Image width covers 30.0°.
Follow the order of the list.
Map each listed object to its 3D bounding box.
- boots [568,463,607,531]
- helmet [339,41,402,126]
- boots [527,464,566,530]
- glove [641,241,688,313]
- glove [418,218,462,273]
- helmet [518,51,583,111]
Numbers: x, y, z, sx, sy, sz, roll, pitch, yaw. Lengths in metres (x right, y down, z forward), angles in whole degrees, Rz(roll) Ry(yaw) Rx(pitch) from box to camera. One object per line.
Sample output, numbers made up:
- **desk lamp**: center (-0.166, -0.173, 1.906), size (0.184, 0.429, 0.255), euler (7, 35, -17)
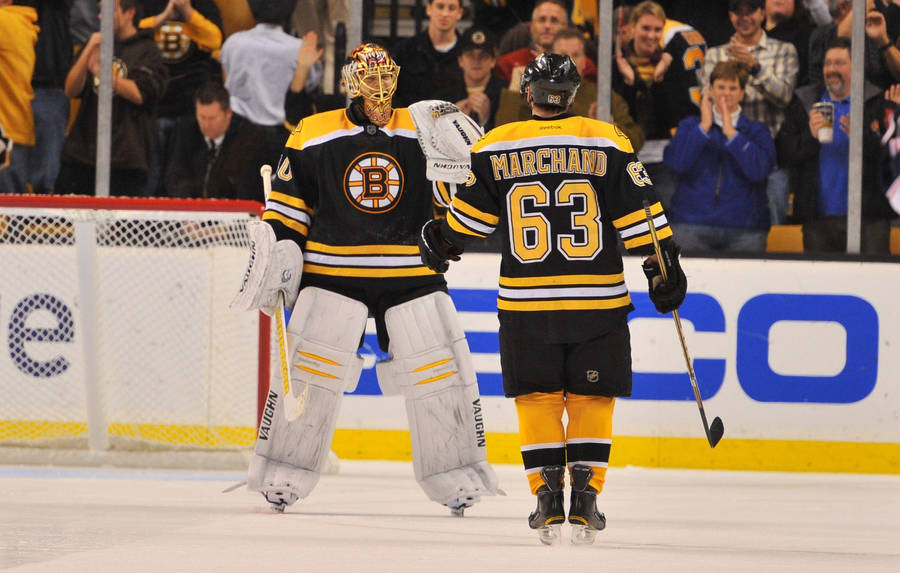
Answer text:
- **boots**: center (0.789, 1.237, 9.721), size (0.210, 0.367, 0.494), euler (2, -11, 16)
- **helmet**: center (-0.450, -1.221, 10.063), size (0.342, 0.428, 0.436), euler (-6, 13, -9)
- **boots**: center (0.572, 1.240, 9.747), size (0.194, 0.340, 0.481), euler (-1, -13, -9)
- **glove**: center (1.261, -0.044, 9.676), size (0.251, 0.401, 0.163), euler (-14, -7, 25)
- **glove**: center (-0.061, -0.234, 9.779), size (0.280, 0.281, 0.131), euler (32, 2, -3)
- **helmet**: center (0.616, -1.148, 9.832), size (0.341, 0.398, 0.422), euler (4, 2, 0)
